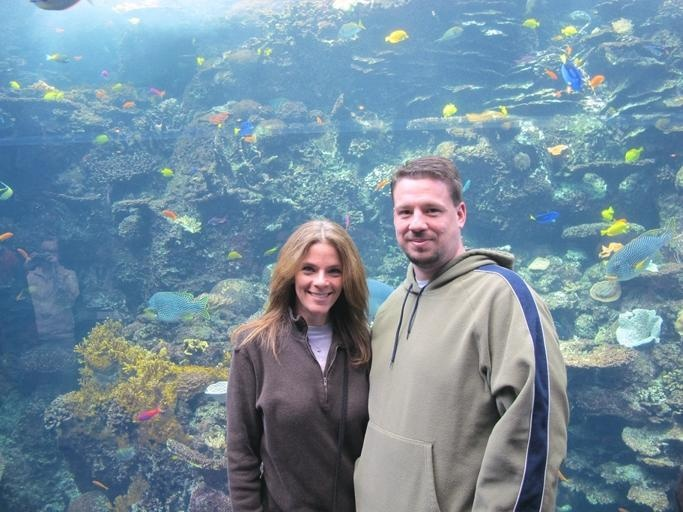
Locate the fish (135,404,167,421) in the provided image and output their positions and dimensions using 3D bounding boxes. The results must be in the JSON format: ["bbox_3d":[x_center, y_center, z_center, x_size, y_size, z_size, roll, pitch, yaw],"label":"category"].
[{"bbox_3d":[-7.647,6.313,27.818,0.884,0.226,0.442,-22,24,22],"label":"fish"}]
